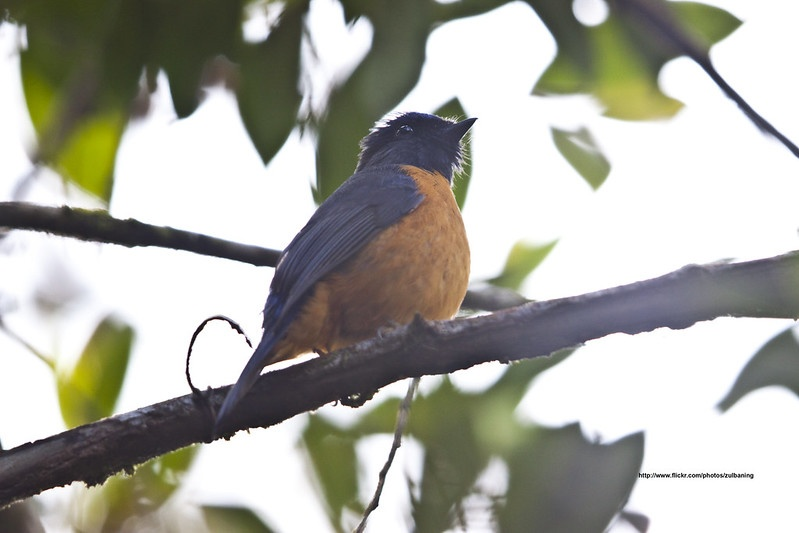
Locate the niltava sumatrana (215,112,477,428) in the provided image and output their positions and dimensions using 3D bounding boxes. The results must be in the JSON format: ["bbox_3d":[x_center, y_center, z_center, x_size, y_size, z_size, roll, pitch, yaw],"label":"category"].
[{"bbox_3d":[-0.239,0.101,5.972,1.313,2.453,0.579,3,-47,9],"label":"niltava sumatrana"}]
